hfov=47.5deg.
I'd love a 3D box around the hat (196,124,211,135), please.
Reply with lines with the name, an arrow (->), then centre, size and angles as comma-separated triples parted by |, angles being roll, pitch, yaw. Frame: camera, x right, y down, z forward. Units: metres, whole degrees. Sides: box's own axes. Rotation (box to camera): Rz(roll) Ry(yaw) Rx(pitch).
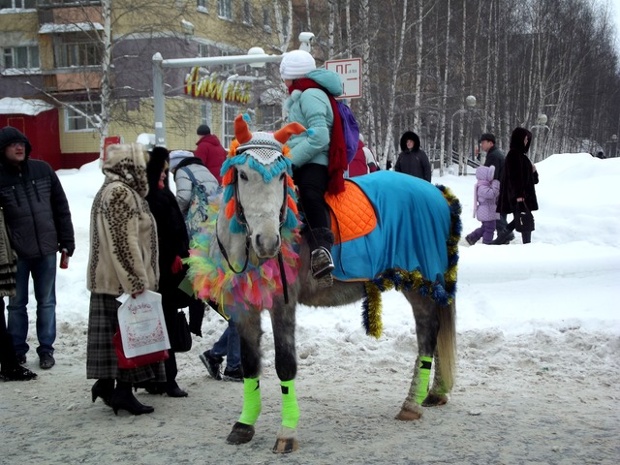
hat -> -2.063, -1.988, 13.693 | 0.232, 0.241, 0.348 | -2, 11, -9

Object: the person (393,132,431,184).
person -> 2.207, -1.253, 15.361 | 0.719, 1.781, 0.520 | -2, -22, 15

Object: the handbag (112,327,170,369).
handbag -> -1.970, 1.303, 8.089 | 0.398, 0.437, 0.177 | -10, 7, -22

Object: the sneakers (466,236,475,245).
sneakers -> 3.135, 0.162, 13.800 | 0.192, 0.109, 0.280 | -3, -4, 16

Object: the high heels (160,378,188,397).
high heels -> -1.668, 1.907, 8.720 | 0.416, 0.206, 0.143 | -1, 1, 34

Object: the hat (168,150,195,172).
hat -> -1.817, -1.030, 9.997 | 0.294, 0.252, 0.252 | -25, 7, -3

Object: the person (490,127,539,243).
person -> 4.247, -0.907, 14.226 | 0.898, 2.378, 0.880 | -5, 6, -9

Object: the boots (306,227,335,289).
boots -> 0.129, 0.263, 7.478 | 0.275, 0.585, 0.316 | -2, 14, 0

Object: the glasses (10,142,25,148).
glasses -> -3.854, -1.163, 9.330 | 0.101, 0.075, 0.262 | 2, 16, 15

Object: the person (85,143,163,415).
person -> -2.211, 0.544, 8.237 | 0.911, 3.023, 0.931 | -5, 14, -14

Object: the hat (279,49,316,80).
hat -> -0.132, -1.933, 8.147 | 0.346, 0.274, 0.315 | 7, 18, 31

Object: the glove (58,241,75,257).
glove -> -3.405, 0.222, 9.910 | 0.168, 0.245, 0.118 | 4, 5, 1

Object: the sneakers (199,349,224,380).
sneakers -> -1.275, 1.710, 9.174 | 0.214, 0.524, 0.169 | -23, 11, -1

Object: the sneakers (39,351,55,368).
sneakers -> -3.563, 1.710, 9.508 | 0.215, 0.181, 0.281 | -6, 16, -16

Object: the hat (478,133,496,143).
hat -> 3.899, -2.075, 15.436 | 0.323, 0.190, 0.248 | 24, 13, 16
